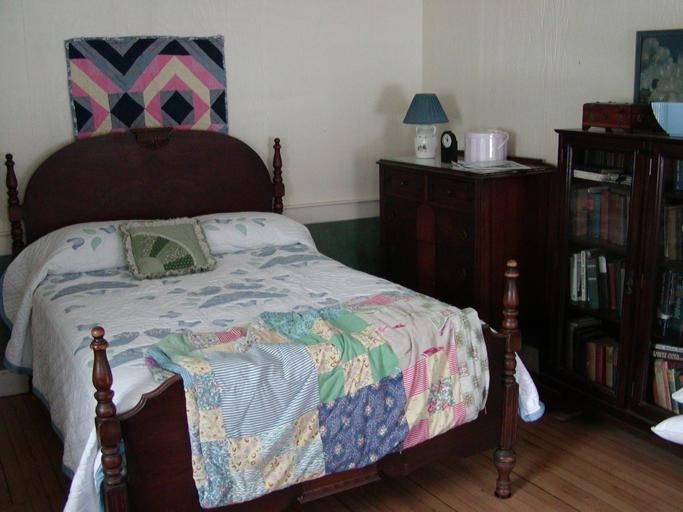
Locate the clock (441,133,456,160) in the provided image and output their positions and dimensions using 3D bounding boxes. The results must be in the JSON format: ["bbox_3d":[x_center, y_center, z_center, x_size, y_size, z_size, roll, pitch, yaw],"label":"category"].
[{"bbox_3d":[0.810,-0.831,4.261,0.068,0.262,0.137,-13,22,-34],"label":"clock"}]

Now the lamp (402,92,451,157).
[{"bbox_3d":[0.649,-1.050,4.532,0.428,0.594,0.466,-1,13,2],"label":"lamp"}]

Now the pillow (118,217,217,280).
[{"bbox_3d":[-1.164,-0.077,3.678,0.425,0.111,0.462,0,48,-25],"label":"pillow"}]

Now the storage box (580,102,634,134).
[{"bbox_3d":[1.551,-0.811,3.266,0.110,0.162,0.295,-15,17,-40],"label":"storage box"}]

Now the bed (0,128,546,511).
[{"bbox_3d":[-0.672,0.231,3.477,2.092,2.170,3.032,-9,16,-30],"label":"bed"}]

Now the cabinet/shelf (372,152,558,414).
[{"bbox_3d":[0.816,0.149,3.446,0.631,1.869,1.304,-6,14,-25],"label":"cabinet/shelf"}]
